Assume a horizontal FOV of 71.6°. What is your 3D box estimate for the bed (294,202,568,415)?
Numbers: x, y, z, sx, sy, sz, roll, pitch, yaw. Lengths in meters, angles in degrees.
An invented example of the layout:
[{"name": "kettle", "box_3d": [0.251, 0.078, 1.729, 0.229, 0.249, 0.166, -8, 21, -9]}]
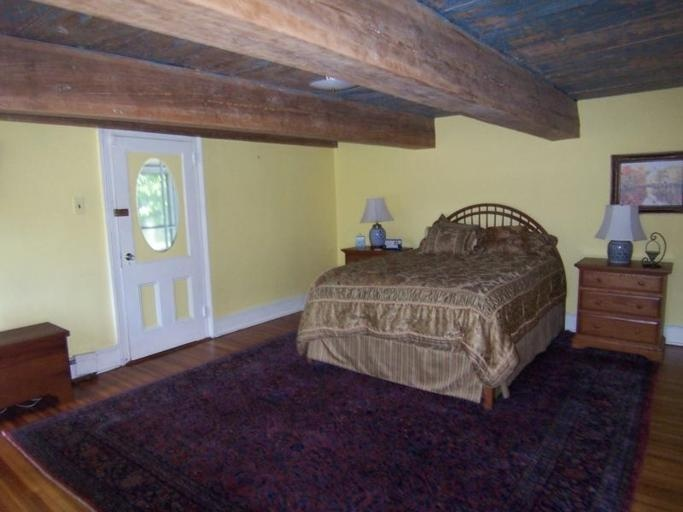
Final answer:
[{"name": "bed", "box_3d": [1.173, 0.394, 4.631, 1.740, 1.351, 2.168, 7, 12, 42]}]
